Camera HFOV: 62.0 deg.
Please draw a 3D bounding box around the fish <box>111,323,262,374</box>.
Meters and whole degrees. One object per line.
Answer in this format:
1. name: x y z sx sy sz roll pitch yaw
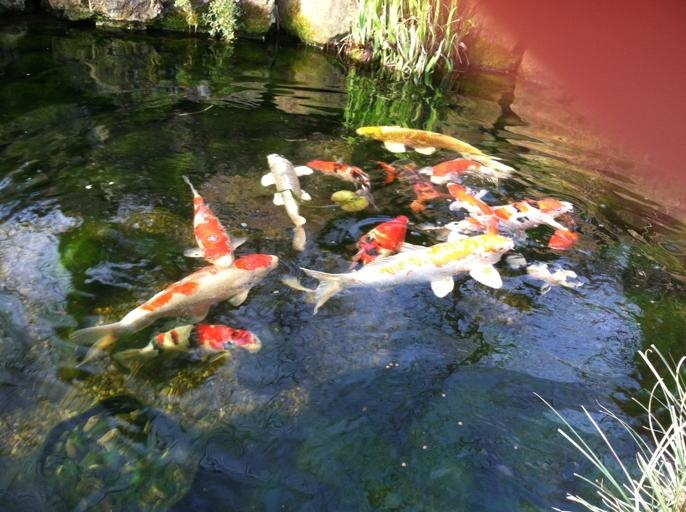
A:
1. fish: -1.209 0.696 4.836 1.446 0.349 0.360 -6 23 -5
